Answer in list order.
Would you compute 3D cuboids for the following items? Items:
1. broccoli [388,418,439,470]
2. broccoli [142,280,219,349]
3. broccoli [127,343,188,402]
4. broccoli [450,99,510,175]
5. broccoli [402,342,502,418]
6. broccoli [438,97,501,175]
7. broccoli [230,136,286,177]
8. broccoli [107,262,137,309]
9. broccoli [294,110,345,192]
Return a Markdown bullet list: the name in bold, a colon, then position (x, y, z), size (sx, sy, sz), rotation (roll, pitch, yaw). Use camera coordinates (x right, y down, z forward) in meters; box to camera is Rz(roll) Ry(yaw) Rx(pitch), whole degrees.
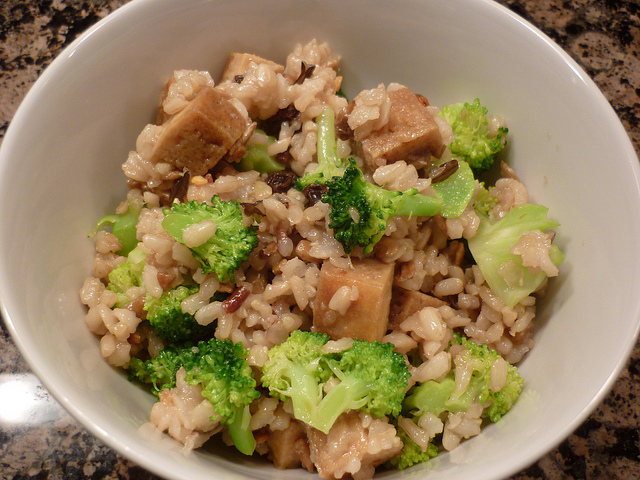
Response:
- **broccoli**: position (0.451, 1.010, 2.923), size (0.171, 0.078, 0.213), rotation (-12, 82, -4)
- **broccoli**: position (-0.693, 0.370, 3.054), size (0.338, 0.113, 0.348), rotation (26, 104, -6)
- **broccoli**: position (-0.849, 0.669, 3.016), size (0.245, 0.311, 0.138), rotation (32, 107, 17)
- **broccoli**: position (0.851, -0.553, 3.210), size (0.301, 0.140, 0.412), rotation (-6, 90, -6)
- **broccoli**: position (0.659, 0.731, 2.898), size (0.546, 0.126, 0.239), rotation (-37, 87, -2)
- **broccoli**: position (0.832, -0.571, 3.211), size (0.289, 0.131, 0.387), rotation (-11, 90, 6)
- **broccoli**: position (-0.327, -0.424, 3.160), size (0.182, 0.072, 0.213), rotation (5, 85, -4)
- **broccoli**: position (-1.013, 0.229, 3.052), size (0.148, 0.060, 0.223), rotation (-9, 90, 15)
- **broccoli**: position (0.022, -0.478, 3.154), size (0.236, 0.087, 0.446), rotation (-2, 75, 0)
